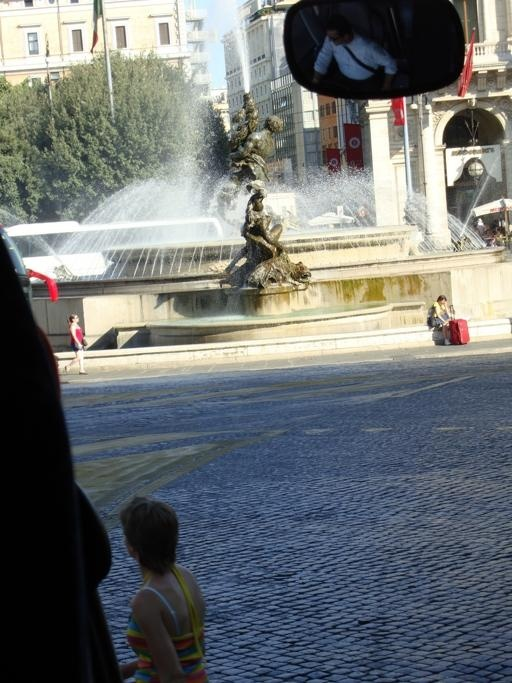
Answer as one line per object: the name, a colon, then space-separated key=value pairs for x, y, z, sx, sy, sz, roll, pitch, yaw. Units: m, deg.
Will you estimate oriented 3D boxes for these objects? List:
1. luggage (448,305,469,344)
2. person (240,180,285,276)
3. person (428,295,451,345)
luggage: x=4.607 y=-0.164 z=16.323 sx=0.467 sy=0.588 sz=0.451 roll=-6 pitch=12 yaw=3
person: x=0.158 y=-2.832 z=19.023 sx=1.138 sy=2.462 sz=0.799 roll=-6 pitch=13 yaw=3
person: x=4.323 y=-0.507 z=17.008 sx=0.561 sy=1.017 sz=1.302 roll=-3 pitch=12 yaw=15
